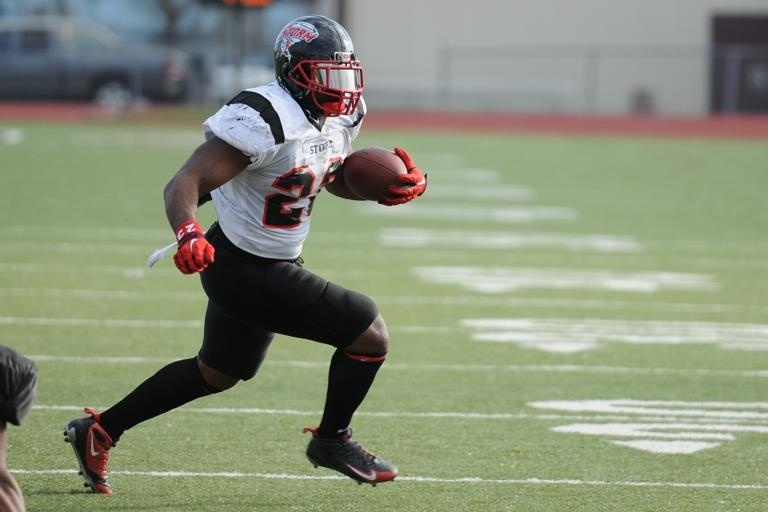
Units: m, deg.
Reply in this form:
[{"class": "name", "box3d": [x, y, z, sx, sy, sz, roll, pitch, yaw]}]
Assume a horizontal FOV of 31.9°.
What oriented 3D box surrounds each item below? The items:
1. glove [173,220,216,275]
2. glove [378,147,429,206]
[{"class": "glove", "box3d": [-1.540, -0.075, 10.981, 0.331, 0.431, 0.184, 7, 7, -9]}, {"class": "glove", "box3d": [0.215, -0.657, 11.860, 0.266, 0.383, 0.552, 39, 12, 20]}]
